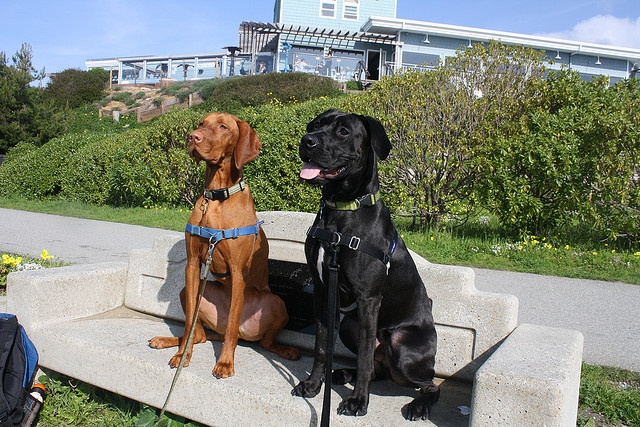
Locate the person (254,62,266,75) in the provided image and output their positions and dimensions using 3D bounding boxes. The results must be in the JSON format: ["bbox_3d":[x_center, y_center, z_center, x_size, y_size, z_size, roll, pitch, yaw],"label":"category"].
[{"bbox_3d":[-4.665,-11.484,40.677,0.482,0.806,1.715,1,11,-23],"label":"person"}]

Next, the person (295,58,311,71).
[{"bbox_3d":[-1.211,-9.712,33.642,1.077,0.835,0.455,11,11,28],"label":"person"}]
